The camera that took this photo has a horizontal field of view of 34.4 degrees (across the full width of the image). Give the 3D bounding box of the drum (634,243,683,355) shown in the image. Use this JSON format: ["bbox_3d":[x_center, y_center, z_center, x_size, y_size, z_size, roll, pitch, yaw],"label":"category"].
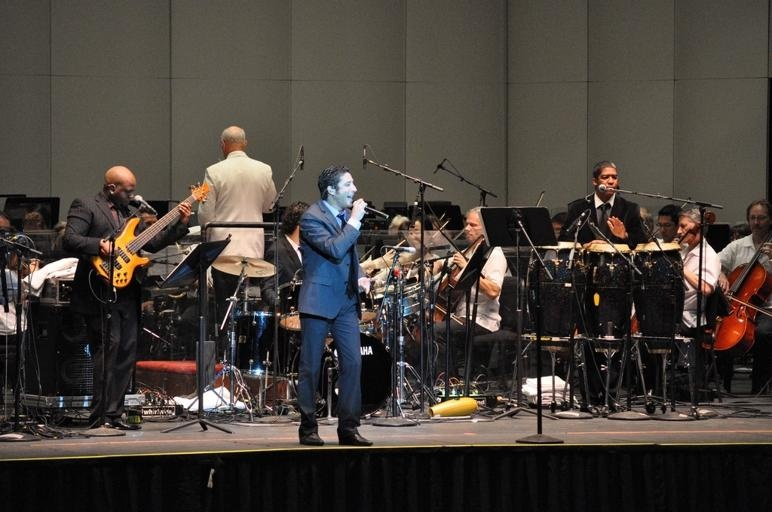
[{"bbox_3d":[3.092,0.438,14.216,0.460,1.329,0.474,1,10,0],"label":"drum"}]

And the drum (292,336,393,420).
[{"bbox_3d":[-0.520,1.326,14.287,0.948,0.980,0.887,-3,2,-43],"label":"drum"}]

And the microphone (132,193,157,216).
[{"bbox_3d":[-2.692,-0.603,13.863,0.186,0.182,0.672,41,-8,-22],"label":"microphone"}]

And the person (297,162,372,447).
[{"bbox_3d":[-0.555,0.511,13.118,0.728,2.863,0.487,0,-11,-4],"label":"person"}]

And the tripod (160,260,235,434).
[{"bbox_3d":[-2.103,0.944,13.798,0.634,1.828,0.718,1,10,-3],"label":"tripod"}]

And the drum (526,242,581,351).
[{"bbox_3d":[1.901,0.460,14.181,0.523,1.211,0.532,0,9,0],"label":"drum"}]

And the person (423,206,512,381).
[{"bbox_3d":[0.918,0.528,15.028,0.932,2.141,0.784,-3,9,-15],"label":"person"}]

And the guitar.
[{"bbox_3d":[-2.663,-0.233,13.737,1.142,1.166,0.422,2,-11,-15],"label":"guitar"}]

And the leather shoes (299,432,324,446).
[{"bbox_3d":[-0.773,1.865,12.964,0.114,0.092,0.213,8,-15,-44],"label":"leather shoes"}]

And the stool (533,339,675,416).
[{"bbox_3d":[2.866,1.245,14.546,1.087,0.887,1.149,0,-1,-34],"label":"stool"}]

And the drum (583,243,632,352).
[{"bbox_3d":[2.620,0.415,14.410,0.675,1.163,0.664,-6,7,1],"label":"drum"}]

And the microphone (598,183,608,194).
[{"bbox_3d":[2.467,-0.762,14.090,0.090,0.124,0.122,9,-10,-5],"label":"microphone"}]

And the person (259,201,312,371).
[{"bbox_3d":[-1.145,0.043,14.870,0.408,1.454,0.431,-2,-8,1],"label":"person"}]

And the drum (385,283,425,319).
[{"bbox_3d":[0.178,0.513,14.369,0.366,0.254,0.378,-4,4,0],"label":"drum"}]

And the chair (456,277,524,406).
[{"bbox_3d":[1.245,0.911,14.842,1.076,2.070,1.168,1,-8,5],"label":"chair"}]

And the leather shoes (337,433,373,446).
[{"bbox_3d":[-0.319,1.864,12.967,0.359,0.158,0.137,-3,-7,15],"label":"leather shoes"}]
